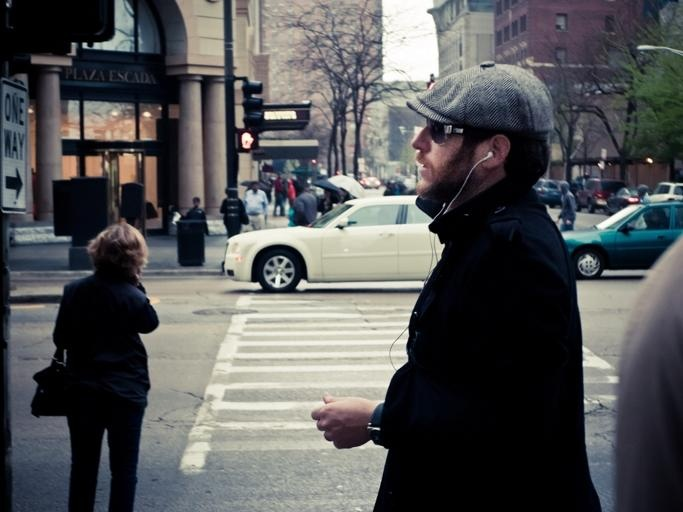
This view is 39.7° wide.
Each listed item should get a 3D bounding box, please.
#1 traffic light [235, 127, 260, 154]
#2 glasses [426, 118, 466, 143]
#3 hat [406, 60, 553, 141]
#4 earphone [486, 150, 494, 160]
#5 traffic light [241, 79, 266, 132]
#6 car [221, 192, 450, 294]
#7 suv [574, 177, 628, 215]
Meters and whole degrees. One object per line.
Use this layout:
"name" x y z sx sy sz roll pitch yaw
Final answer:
"traffic light" -1.856 -2.257 18.603 0.491 0.590 0.361 -1 6 0
"glasses" 0.346 -0.409 3.146 0.092 0.036 0.075 5 3 -13
"hat" 0.487 -0.541 3.231 0.493 0.228 0.372 4 14 2
"earphone" 0.494 -0.332 3.131 0.012 0.032 0.012 9 18 21
"traffic light" -1.692 -2.876 18.011 0.384 0.992 0.374 -1 8 -10
"car" -0.116 -0.182 15.454 3.486 1.217 1.475 1 -1 -1
"suv" 13.063 -3.098 47.887 1.257 1.245 2.894 0 8 -5
